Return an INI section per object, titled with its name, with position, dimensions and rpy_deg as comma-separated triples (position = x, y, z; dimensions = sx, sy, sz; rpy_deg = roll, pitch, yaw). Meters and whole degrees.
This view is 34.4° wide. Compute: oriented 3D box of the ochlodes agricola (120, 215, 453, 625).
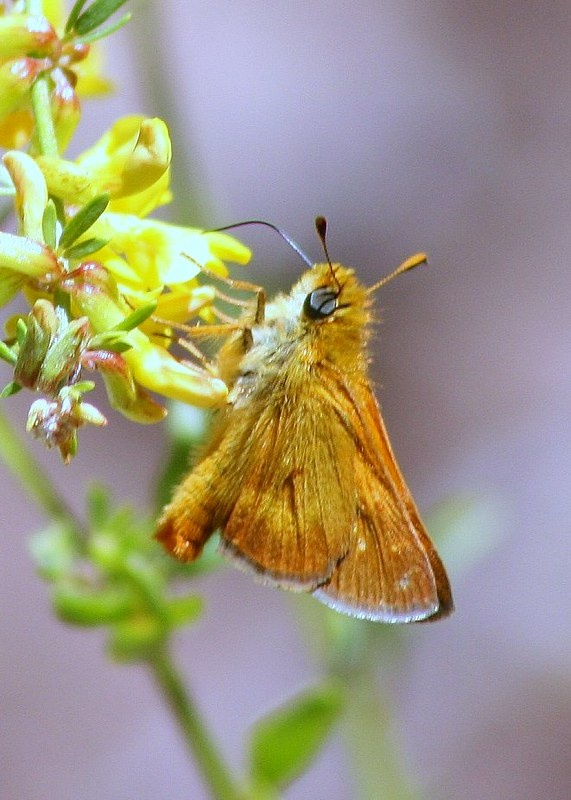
[ochlodes agricola]
position = 0.024, 0.045, 1.086
dimensions = 0.192, 0.375, 0.428
rpy_deg = -1, 16, 3
